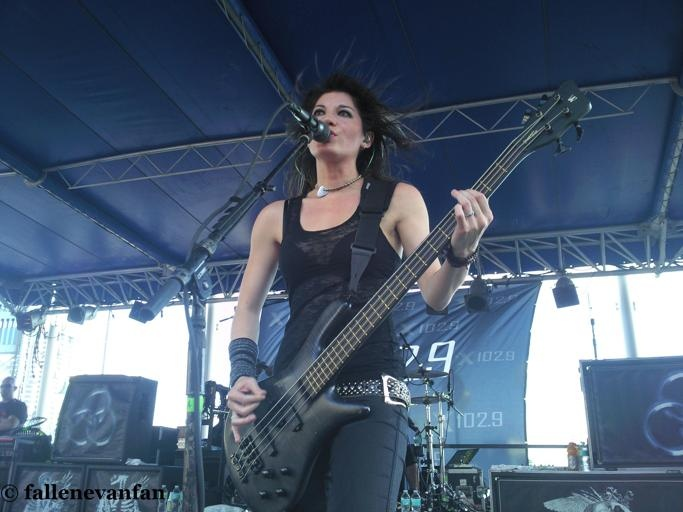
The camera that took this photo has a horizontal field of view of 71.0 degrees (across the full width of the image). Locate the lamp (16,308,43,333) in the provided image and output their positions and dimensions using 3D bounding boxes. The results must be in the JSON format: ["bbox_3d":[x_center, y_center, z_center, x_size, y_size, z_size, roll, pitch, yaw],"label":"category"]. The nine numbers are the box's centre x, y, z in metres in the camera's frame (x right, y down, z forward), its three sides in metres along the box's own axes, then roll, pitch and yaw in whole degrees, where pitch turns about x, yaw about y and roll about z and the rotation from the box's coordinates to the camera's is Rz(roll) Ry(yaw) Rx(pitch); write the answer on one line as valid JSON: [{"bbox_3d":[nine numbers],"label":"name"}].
[{"bbox_3d":[-7.480,1.521,11.526,0.569,0.570,0.286,7,-21,-18],"label":"lamp"}]

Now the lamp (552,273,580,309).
[{"bbox_3d":[4.002,0.671,8.785,0.521,0.520,0.695,-23,0,22],"label":"lamp"}]

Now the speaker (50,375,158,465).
[{"bbox_3d":[-2.801,1.969,5.798,0.962,0.937,0.582,-3,-20,13],"label":"speaker"}]

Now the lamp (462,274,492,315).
[{"bbox_3d":[2.316,0.653,8.217,0.450,0.722,0.567,-4,-52,20],"label":"lamp"}]

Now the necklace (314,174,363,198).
[{"bbox_3d":[-0.028,-0.348,2.446,0.181,0.125,0.034,-20,-58,32],"label":"necklace"}]
